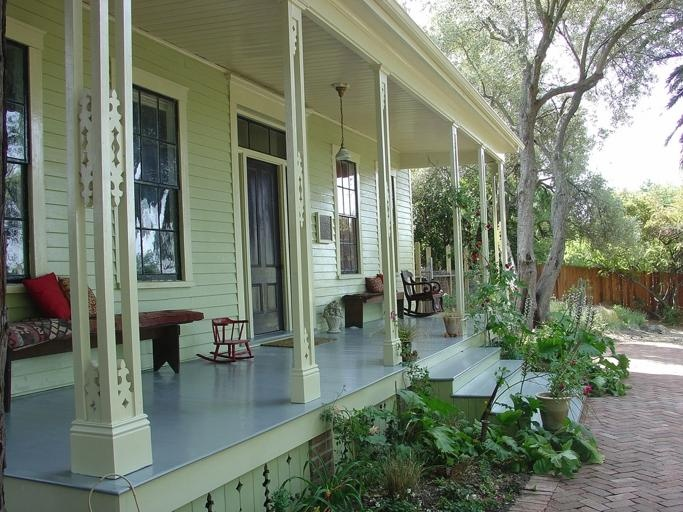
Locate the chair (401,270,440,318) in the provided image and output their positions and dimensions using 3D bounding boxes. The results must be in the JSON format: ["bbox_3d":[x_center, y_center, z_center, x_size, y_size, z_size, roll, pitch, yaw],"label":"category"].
[{"bbox_3d":[1.522,0.642,10.396,0.766,0.883,0.645,0,16,14],"label":"chair"}]

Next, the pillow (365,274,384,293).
[{"bbox_3d":[0.633,0.571,10.176,0.362,0.313,0.693,11,8,1],"label":"pillow"}]

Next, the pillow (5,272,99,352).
[{"bbox_3d":[-2.497,0.461,4.377,0.207,0.768,0.718,-19,-8,29],"label":"pillow"}]

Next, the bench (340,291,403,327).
[{"bbox_3d":[0.655,1.020,9.919,0.475,0.639,1.645,-2,-2,35],"label":"bench"}]

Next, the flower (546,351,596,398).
[{"bbox_3d":[2.800,1.447,6.052,0.285,0.532,0.408,-6,-5,-11],"label":"flower"}]

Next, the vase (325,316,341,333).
[{"bbox_3d":[-0.134,1.152,8.623,0.229,0.232,0.243,0,-12,4],"label":"vase"}]

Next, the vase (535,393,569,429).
[{"bbox_3d":[2.287,1.713,5.595,0.403,0.375,0.401,6,-7,-18],"label":"vase"}]

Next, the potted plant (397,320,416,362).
[{"bbox_3d":[0.747,0.981,5.964,0.242,0.435,0.234,2,-12,-27],"label":"potted plant"}]

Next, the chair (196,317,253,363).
[{"bbox_3d":[-1.422,1.037,6.318,0.607,0.532,0.657,2,-2,-15],"label":"chair"}]
